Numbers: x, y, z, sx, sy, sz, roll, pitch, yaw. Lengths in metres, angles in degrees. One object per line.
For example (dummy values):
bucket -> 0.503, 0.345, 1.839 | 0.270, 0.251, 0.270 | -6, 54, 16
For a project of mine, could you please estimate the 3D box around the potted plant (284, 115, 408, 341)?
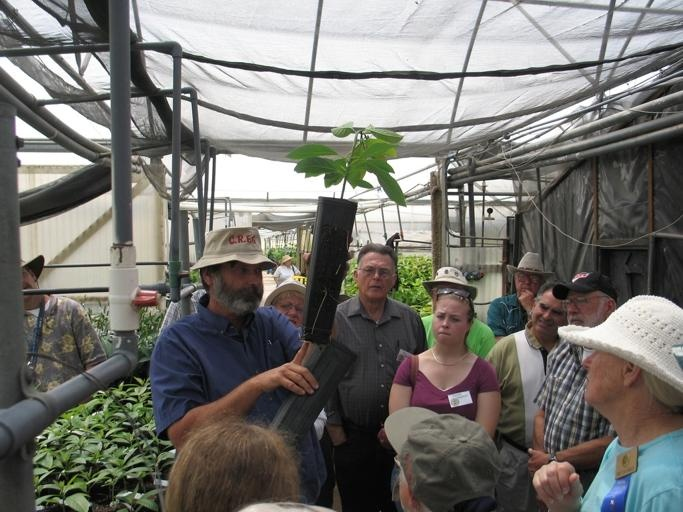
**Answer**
potted plant -> 0.047, -0.165, 3.367 | 0.744, 1.376, 0.563 | 0, 1, -4

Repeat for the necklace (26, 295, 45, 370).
necklace -> -2.734, 0.698, 4.792 | 0.137, 0.570, 0.377 | -1, 1, -31

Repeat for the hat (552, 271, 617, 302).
hat -> 1.958, 0.249, 4.305 | 0.398, 0.212, 0.259 | 14, -9, 6

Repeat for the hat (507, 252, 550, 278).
hat -> 2.218, 0.101, 6.260 | 0.312, 0.147, 0.376 | 6, -18, 9
